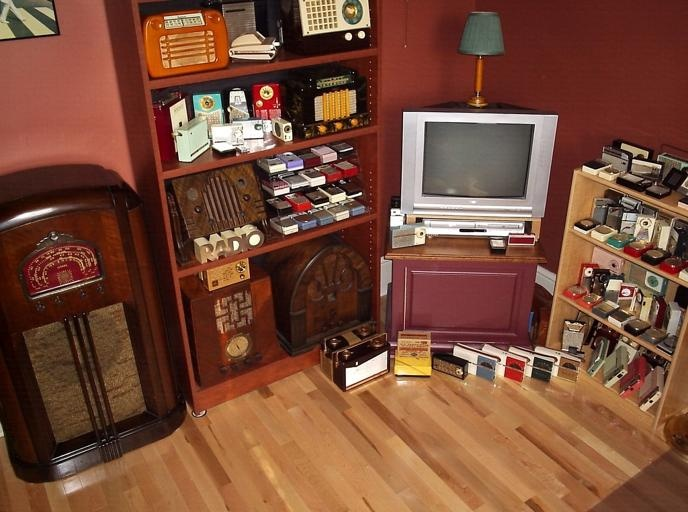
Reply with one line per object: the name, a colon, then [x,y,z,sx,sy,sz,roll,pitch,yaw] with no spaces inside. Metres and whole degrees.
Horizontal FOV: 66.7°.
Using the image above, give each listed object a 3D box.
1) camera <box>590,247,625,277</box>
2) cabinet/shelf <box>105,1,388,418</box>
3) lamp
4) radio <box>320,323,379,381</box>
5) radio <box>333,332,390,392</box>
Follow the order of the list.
camera: [1.658,0.039,3.264,0.079,0.100,0.143,-29,51,-30]
cabinet/shelf: [-0.481,-0.303,3.154,1.400,2.258,0.557,-15,29,-25]
lamp: [0.896,-1.286,3.437,0.271,0.569,0.661,4,26,13]
radio: [0.029,0.625,3.326,0.315,0.255,0.098,-19,33,-34]
radio: [0.109,0.651,3.362,0.332,0.248,0.218,-19,29,-24]
